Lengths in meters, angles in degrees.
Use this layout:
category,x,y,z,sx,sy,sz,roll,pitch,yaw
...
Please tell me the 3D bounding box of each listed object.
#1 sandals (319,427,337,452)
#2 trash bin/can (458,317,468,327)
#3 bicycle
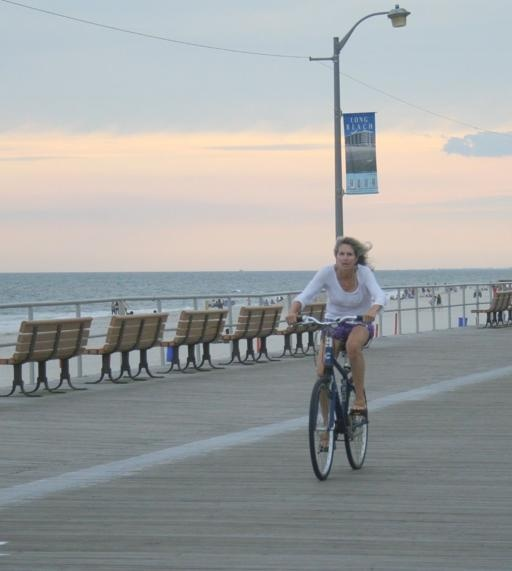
category,x,y,z,sx,sy,sz,roll,pitch,yaw
sandals,0.471,1.004,9.819,0.072,0.172,0.206,-1,-1,25
trash bin/can,4.252,0.721,30.623,0.116,0.210,0.225,0,1,21
bicycle,0.520,0.736,10.099,0.464,1.069,1.062,0,-1,4
